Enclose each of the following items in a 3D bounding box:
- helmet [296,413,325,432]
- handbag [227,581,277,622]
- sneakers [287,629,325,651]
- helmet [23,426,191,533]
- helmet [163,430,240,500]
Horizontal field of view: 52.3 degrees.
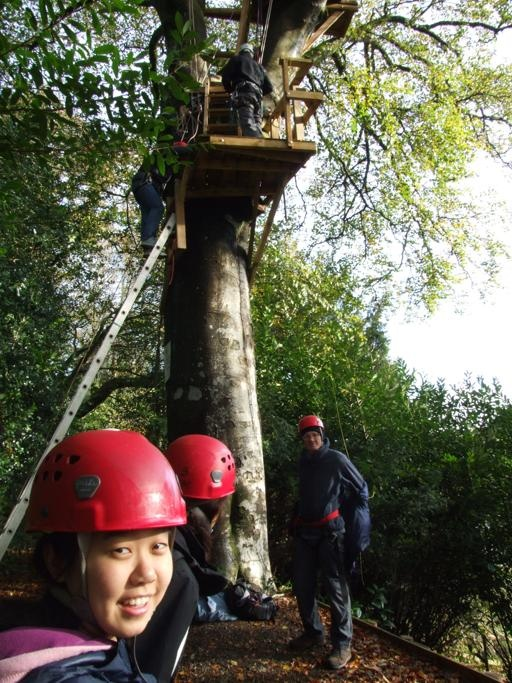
[{"bbox_3d":[0.518,0.785,5.005,0.173,0.162,0.218,-9,-8,18],"label":"helmet"},{"bbox_3d":[-0.026,1.966,3.990,0.342,0.142,0.271,25,1,19],"label":"handbag"},{"bbox_3d":[0.384,2.244,3.936,0.364,0.143,0.120,17,-12,-20],"label":"sneakers"},{"bbox_3d":[-0.390,0.396,1.475,0.396,0.219,0.282,-10,-28,14],"label":"helmet"},{"bbox_3d":[-0.302,0.678,2.920,0.302,0.293,0.388,-1,25,-40],"label":"helmet"}]
